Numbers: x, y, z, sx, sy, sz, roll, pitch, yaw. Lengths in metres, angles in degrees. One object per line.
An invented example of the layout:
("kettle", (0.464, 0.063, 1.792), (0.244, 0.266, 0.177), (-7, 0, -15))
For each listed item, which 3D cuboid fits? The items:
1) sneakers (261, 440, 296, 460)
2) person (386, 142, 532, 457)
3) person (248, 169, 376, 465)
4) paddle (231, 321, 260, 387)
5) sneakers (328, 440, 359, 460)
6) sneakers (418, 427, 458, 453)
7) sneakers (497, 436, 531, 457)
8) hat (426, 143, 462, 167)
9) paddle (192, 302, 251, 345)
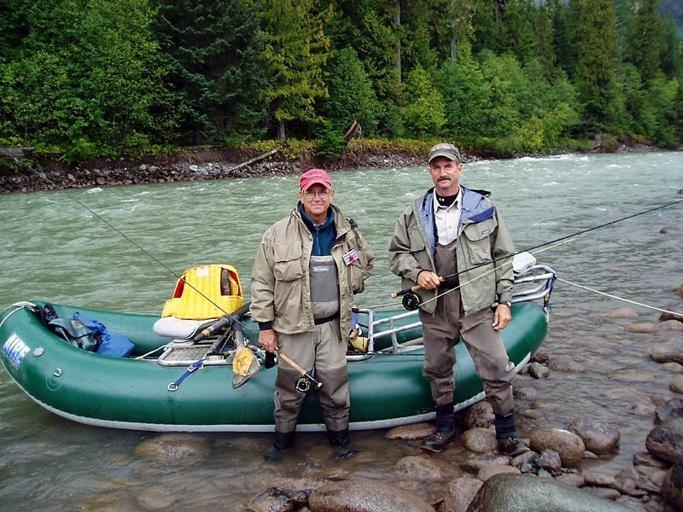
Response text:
("sneakers", (-0.504, 1.533, 4.377), (0.226, 0.073, 0.097), (-15, 30, -20))
("person", (0.868, 0.352, 4.181), (0.940, 2.369, 0.561), (-4, 14, 12))
("person", (-0.197, 0.462, 4.305), (0.944, 2.233, 0.522), (-6, 14, 3))
("paddle", (-0.833, 0.829, 4.650), (0.209, 0.128, 0.474), (-10, 23, -6))
("sneakers", (0.011, 1.537, 4.363), (0.339, 0.161, 0.106), (-1, -17, -3))
("sneakers", (0.767, 1.481, 4.441), (0.346, 0.117, 0.127), (1, -5, -27))
("sneakers", (1.298, 1.438, 4.159), (0.244, 0.085, 0.109), (-10, 7, 38))
("hat", (0.779, -0.771, 4.139), (0.195, 0.106, 0.238), (-9, -7, 18))
("paddle", (-1.129, 0.624, 5.022), (0.849, 0.122, 0.143), (-24, 7, -24))
